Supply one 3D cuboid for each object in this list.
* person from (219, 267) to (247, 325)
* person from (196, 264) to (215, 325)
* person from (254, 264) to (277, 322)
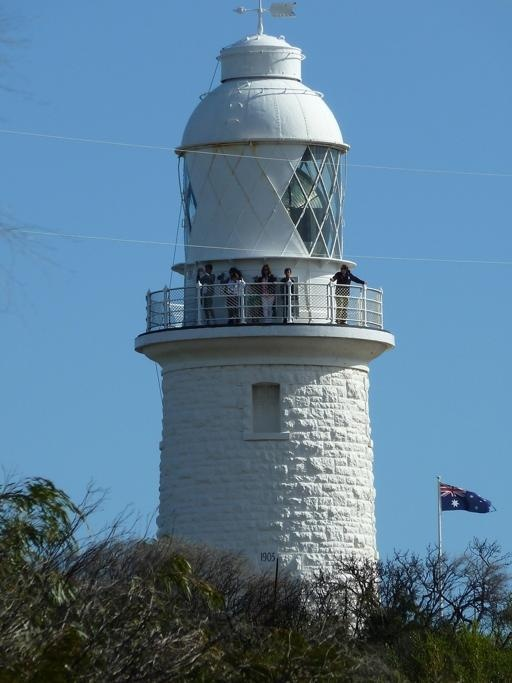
[{"bbox_3d":[-0.341,-0.716,31.850,0.280,1.049,0.492,9,-16,-26],"label":"person"},{"bbox_3d":[-0.806,-0.811,32.264,0.300,1.224,0.755,3,-15,-2],"label":"person"},{"bbox_3d":[0.165,-0.766,31.760,0.329,0.929,0.349,2,-14,0],"label":"person"}]
